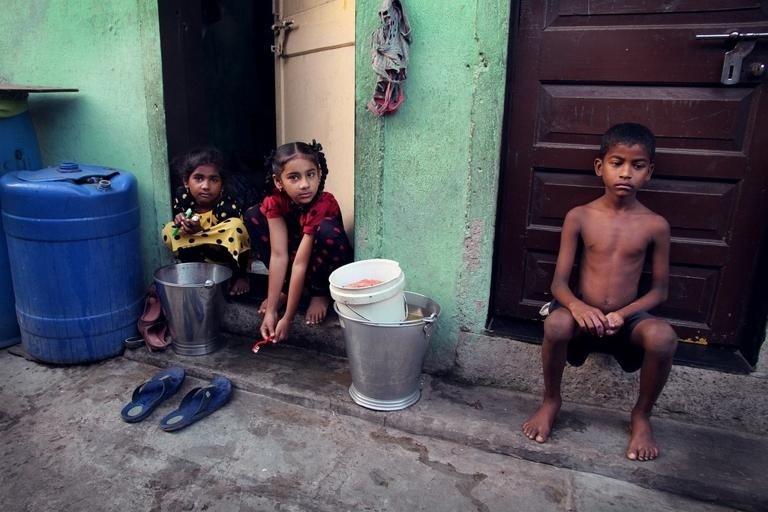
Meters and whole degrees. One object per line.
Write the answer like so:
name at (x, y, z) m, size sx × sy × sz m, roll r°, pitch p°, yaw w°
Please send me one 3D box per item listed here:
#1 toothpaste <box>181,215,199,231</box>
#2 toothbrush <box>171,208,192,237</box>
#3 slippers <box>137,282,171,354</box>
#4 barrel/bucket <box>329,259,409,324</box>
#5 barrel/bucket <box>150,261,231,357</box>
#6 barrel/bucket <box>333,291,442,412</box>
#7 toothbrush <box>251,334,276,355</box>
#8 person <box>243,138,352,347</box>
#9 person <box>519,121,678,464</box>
toothpaste at (-1.431, -0.248, 3.983) m, size 0.124 × 0.115 × 0.106 m, roll -4°, pitch 11°, yaw -39°
toothbrush at (-1.535, -0.258, 4.093) m, size 0.123 × 0.344 × 0.094 m, roll -8°, pitch 65°, yaw -39°
slippers at (-1.750, 0.470, 4.044) m, size 0.176 × 0.103 × 0.578 m, roll -19°, pitch 62°, yaw -17°
barrel/bucket at (-0.102, 0.279, 3.452) m, size 0.525 × 0.374 × 0.484 m, roll -6°, pitch 18°, yaw 2°
barrel/bucket at (-1.395, 0.328, 4.123) m, size 0.658 × 0.623 × 0.728 m, roll -8°, pitch 19°, yaw -40°
barrel/bucket at (0.034, 0.644, 3.610) m, size 0.692 × 0.628 × 0.686 m, roll 1°, pitch 12°, yaw 0°
toothbrush at (-0.867, 0.656, 3.906) m, size 0.066 × 0.279 × 0.026 m, roll 32°, pitch 51°, yaw -8°
person at (-0.574, -0.128, 3.770) m, size 0.719 × 1.340 × 0.610 m, roll -4°, pitch 19°, yaw -14°
person at (1.342, 0.371, 3.192) m, size 0.770 × 1.522 × 0.667 m, roll 7°, pitch 20°, yaw 17°
